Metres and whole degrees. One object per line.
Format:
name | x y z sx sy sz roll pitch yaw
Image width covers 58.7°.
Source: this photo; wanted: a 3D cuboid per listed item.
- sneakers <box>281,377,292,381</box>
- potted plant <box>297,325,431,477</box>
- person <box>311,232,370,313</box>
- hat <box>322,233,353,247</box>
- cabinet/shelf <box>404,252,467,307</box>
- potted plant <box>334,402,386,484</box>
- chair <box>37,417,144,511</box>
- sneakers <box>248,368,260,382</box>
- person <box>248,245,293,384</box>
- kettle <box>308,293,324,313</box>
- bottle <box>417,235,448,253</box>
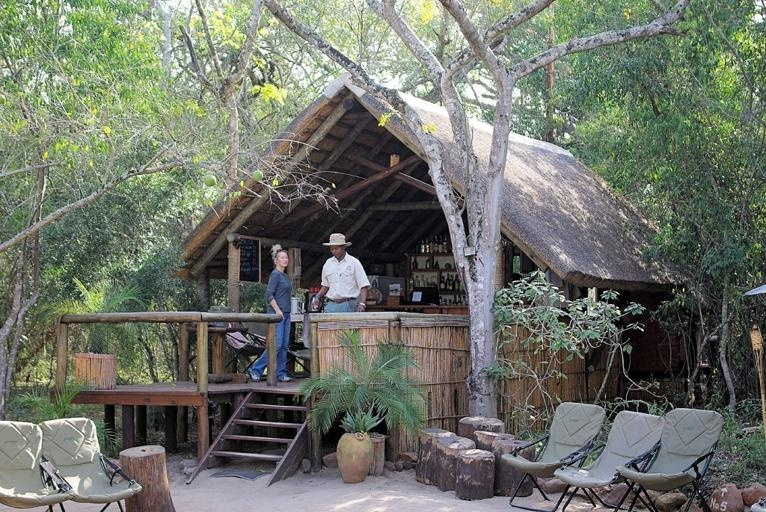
sneakers | -1.629 2.057 11.470 0.075 0.054 0.128 -2 -3 23
potted plant | -0.308 2.081 10.255 1.568 1.469 1.622 -12 -19 37
person | -0.713 0.327 11.932 0.888 1.374 0.682 -2 -10 7
hat | -0.932 -0.318 13.371 0.367 0.176 0.427 0 -7 14
cabinet/shelf | 1.150 0.528 14.712 1.002 1.024 0.346 1 -5 29
potted plant | -0.474 2.748 10.256 0.831 1.397 0.900 0 -5 18
chair | -3.694 2.559 8.429 1.069 1.507 1.174 4 -9 -44
sneakers | -2.156 2.005 11.564 0.189 0.227 0.362 1 -11 -11
person | -1.873 0.909 11.626 0.614 2.401 1.097 1 -10 -8
kettle | -1.275 0.885 12.913 0.308 0.308 0.550 -1 -18 -2
bottle | 1.148 -0.231 15.354 0.691 0.404 0.251 -3 -10 9
